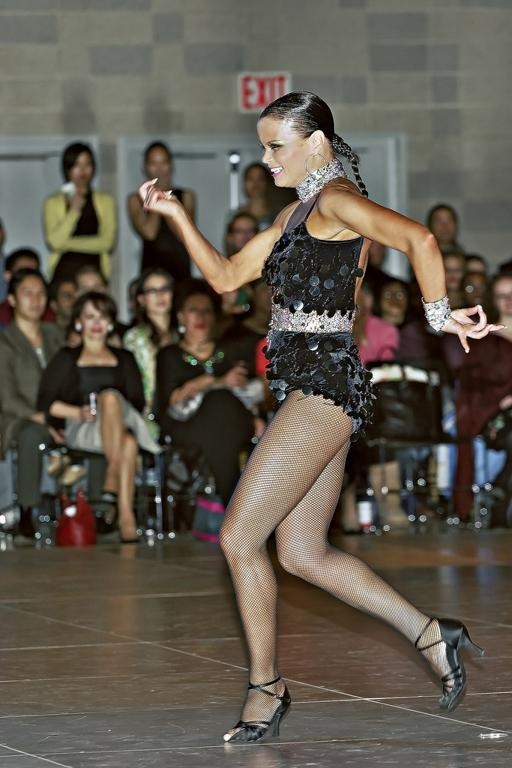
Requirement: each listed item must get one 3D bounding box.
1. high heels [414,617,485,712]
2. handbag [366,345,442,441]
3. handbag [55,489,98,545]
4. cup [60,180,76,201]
[{"bbox_3d":[0.459,0.597,2.049,0.182,0.271,0.092,1,15,11],"label":"high heels"},{"bbox_3d":[1.038,0.095,7.394,0.881,0.720,0.829,1,-5,1],"label":"handbag"},{"bbox_3d":[-1.314,0.971,6.420,0.291,0.405,0.293,-1,4,-8],"label":"handbag"},{"bbox_3d":[-1.743,-1.785,8.158,0.093,0.172,0.166,-4,5,-40],"label":"cup"}]
